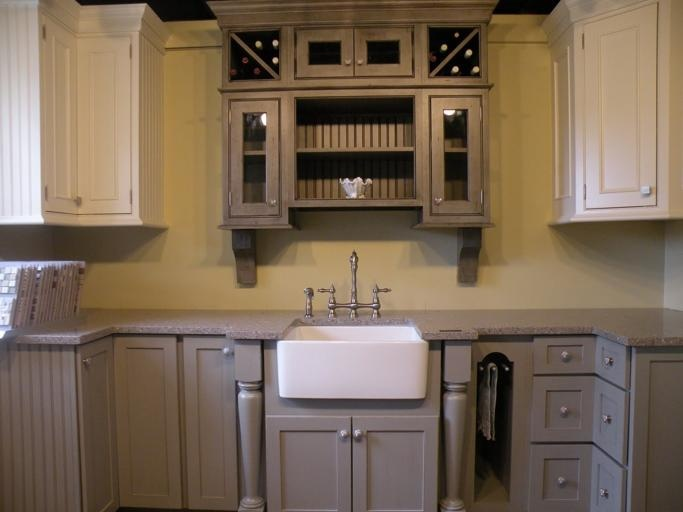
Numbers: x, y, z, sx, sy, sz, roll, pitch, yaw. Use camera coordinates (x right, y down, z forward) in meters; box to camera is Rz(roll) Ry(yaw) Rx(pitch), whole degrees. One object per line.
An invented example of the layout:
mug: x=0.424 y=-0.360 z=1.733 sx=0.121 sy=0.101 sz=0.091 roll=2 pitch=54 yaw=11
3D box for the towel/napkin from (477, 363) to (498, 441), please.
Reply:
towel/napkin: x=0.848 y=0.843 z=3.871 sx=0.083 sy=0.331 sz=0.246 roll=-1 pitch=0 yaw=-5

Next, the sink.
sink: x=0.065 y=0.602 z=3.737 sx=0.809 sy=0.331 sz=0.347 roll=-1 pitch=0 yaw=2

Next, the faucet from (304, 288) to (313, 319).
faucet: x=-0.200 y=0.286 z=4.054 sx=0.058 sy=0.160 sz=0.168 roll=-1 pitch=0 yaw=-2
